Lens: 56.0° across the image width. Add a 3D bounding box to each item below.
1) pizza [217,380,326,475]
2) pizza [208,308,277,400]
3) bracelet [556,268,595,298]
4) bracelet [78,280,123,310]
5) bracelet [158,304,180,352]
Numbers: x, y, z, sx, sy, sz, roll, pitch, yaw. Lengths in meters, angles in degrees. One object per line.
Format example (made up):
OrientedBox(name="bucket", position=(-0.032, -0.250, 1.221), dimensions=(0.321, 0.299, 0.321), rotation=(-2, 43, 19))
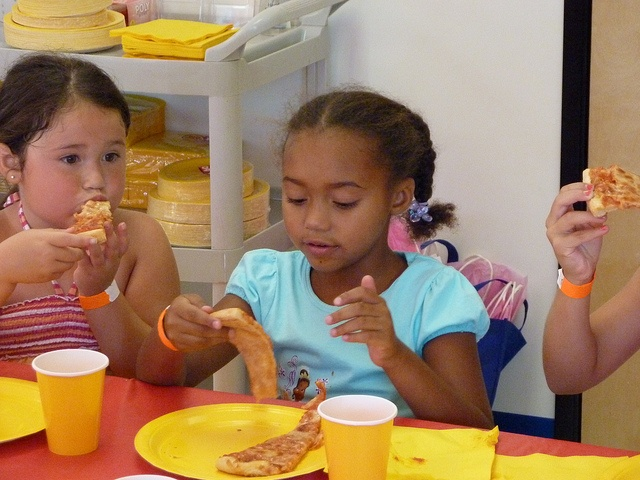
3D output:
OrientedBox(name="pizza", position=(-0.071, 0.313, 0.995), dimensions=(0.086, 0.054, 0.197), rotation=(14, 16, 33))
OrientedBox(name="pizza", position=(-0.118, 0.202, 1.167), dimensions=(0.131, 0.169, 0.042), rotation=(-38, 1, 28))
OrientedBox(name="bracelet", position=(0.601, 0.095, 1.429), dimensions=(0.072, 0.048, 0.072), rotation=(4, 34, 6))
OrientedBox(name="bracelet", position=(-0.511, 0.137, 1.420), dimensions=(0.068, 0.028, 0.071), rotation=(-12, 6, 24))
OrientedBox(name="bracelet", position=(-0.313, 0.185, 1.256), dimensions=(0.033, 0.076, 0.083), rotation=(-10, 33, 1))
